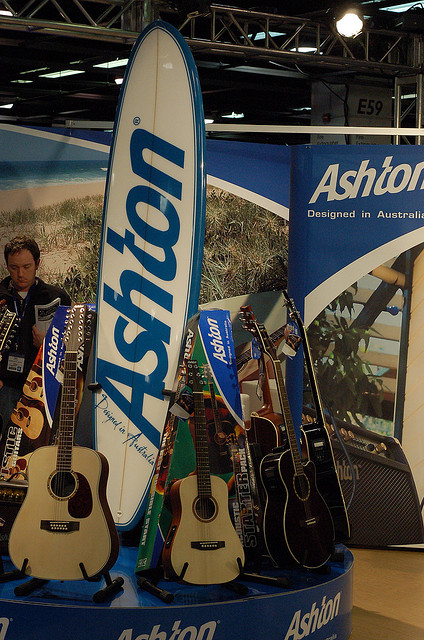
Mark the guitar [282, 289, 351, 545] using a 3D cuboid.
[{"bbox_3d":[0.364,0.500,1.982,0.296,1.057,0.115,-5,11,-4],"label":"guitar"}]

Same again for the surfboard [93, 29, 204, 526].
[{"bbox_3d":[-0.237,-0.224,2.001,0.233,2.066,0.595,6,-4,-35],"label":"surfboard"}]

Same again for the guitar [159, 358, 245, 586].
[{"bbox_3d":[-0.012,0.511,1.621,0.254,0.751,0.221,4,-4,1],"label":"guitar"}]

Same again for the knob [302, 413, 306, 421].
[{"bbox_3d":[0.530,0.565,2.872,0.021,0.033,0.008,-1,7,1],"label":"knob"}]

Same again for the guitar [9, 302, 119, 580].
[{"bbox_3d":[-0.450,0.445,1.558,0.288,0.682,0.209,2,-4,32],"label":"guitar"}]

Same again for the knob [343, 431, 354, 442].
[{"bbox_3d":[0.789,0.666,2.843,0.041,0.066,0.016,20,-3,9],"label":"knob"}]

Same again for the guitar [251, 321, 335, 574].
[{"bbox_3d":[0.286,0.460,1.868,0.363,0.909,0.183,3,-4,18],"label":"guitar"}]

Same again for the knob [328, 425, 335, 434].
[{"bbox_3d":[0.687,0.625,2.853,0.035,0.052,0.013,5,-1,-35],"label":"knob"}]
